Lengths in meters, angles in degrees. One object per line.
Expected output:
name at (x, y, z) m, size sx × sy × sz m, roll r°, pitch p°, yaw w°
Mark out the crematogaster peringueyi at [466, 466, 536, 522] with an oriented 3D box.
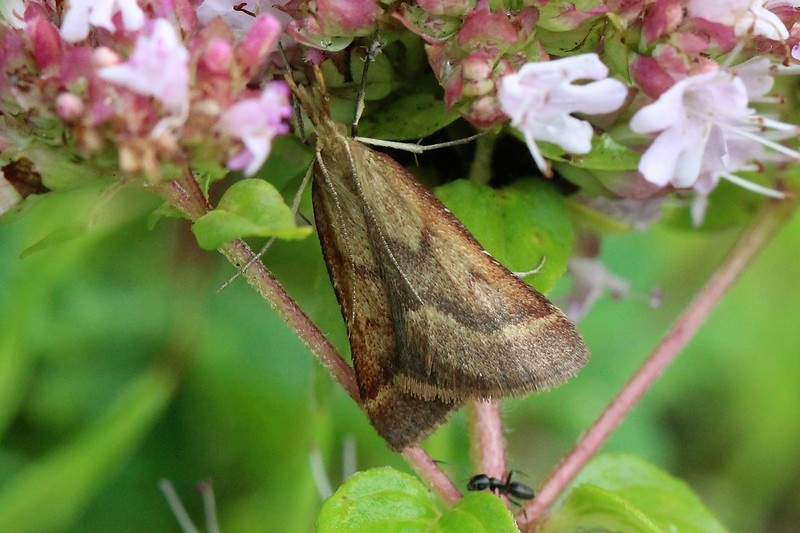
crematogaster peringueyi at (0.135, 0.298, 1.045) m, size 0.086 × 0.057 × 0.037 m, roll 14°, pitch 53°, yaw 22°
